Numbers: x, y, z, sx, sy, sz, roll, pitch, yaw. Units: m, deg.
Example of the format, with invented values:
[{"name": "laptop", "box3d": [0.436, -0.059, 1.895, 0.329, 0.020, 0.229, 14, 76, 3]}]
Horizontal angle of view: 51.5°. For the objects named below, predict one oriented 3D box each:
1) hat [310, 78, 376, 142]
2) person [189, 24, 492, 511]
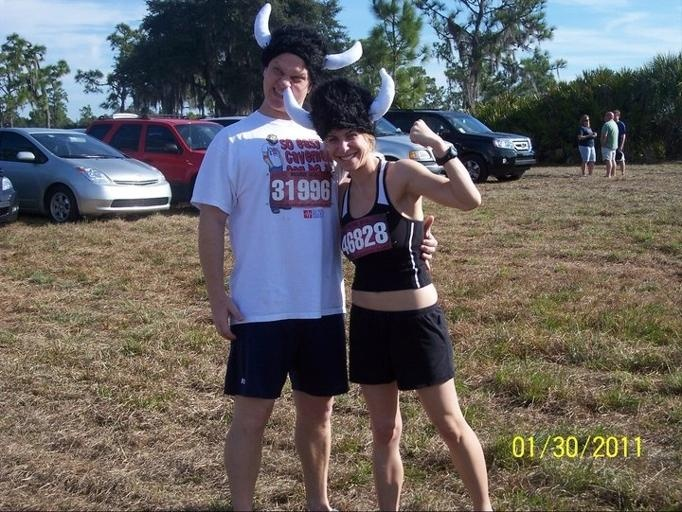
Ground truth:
[{"name": "hat", "box3d": [0.006, -0.902, 4.323, 0.391, 0.351, 0.219, -1, 14, -2]}, {"name": "person", "box3d": [-0.429, 0.109, 4.363, 0.905, 2.938, 0.756, -4, 13, -13]}]
